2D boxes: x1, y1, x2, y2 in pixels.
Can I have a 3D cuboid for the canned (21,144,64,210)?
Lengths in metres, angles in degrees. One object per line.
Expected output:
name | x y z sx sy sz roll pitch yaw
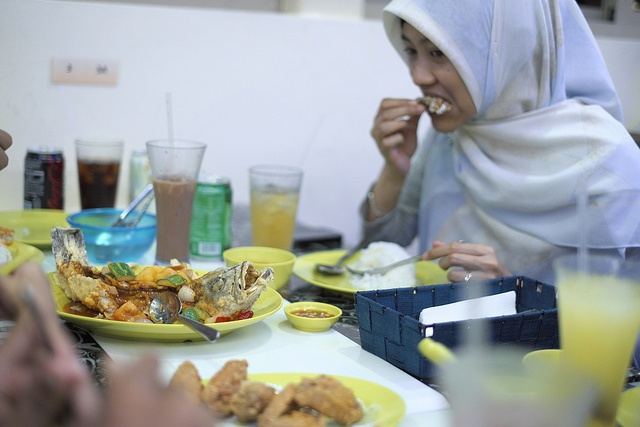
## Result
canned | -0.868 -0.103 1.568 0.119 0.199 0.108 -1 13 -24

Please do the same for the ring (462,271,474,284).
ring | 0.374 0.163 1.273 0.020 0.021 0.075 -4 15 13

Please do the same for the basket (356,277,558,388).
basket | 0.292 0.201 0.982 0.313 0.094 0.197 -3 8 -26

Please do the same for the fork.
fork | 0.266 0.134 1.543 0.230 0.031 0.035 -15 30 -12

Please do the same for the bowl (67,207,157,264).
bowl | -0.553 0.070 1.400 0.182 0.084 0.177 4 1 0
